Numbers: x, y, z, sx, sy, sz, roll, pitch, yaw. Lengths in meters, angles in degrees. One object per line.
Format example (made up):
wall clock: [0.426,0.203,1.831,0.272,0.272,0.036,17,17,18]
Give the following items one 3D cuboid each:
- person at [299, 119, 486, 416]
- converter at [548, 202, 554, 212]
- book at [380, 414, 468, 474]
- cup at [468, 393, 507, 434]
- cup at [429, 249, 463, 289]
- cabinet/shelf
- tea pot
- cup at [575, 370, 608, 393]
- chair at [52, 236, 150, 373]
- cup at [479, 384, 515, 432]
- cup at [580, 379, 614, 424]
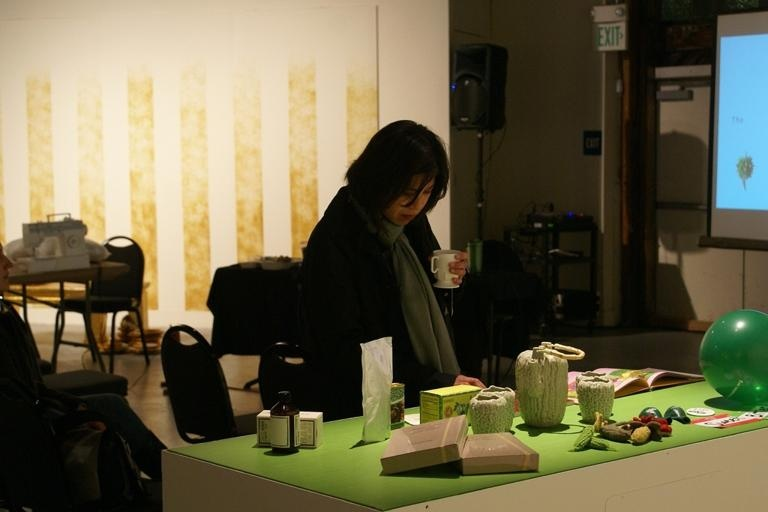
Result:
person: [-0.025,0.047,2.899,0.633,1.045,0.313,-4,1,-7]
converter: [1.781,-0.514,7.612,0.024,0.059,0.078,6,3,-20]
book: [0.129,0.605,2.304,0.278,0.143,0.188,-4,1,3]
cup: [0.355,0.544,2.498,0.124,0.120,0.127,-4,-3,0]
cup: [0.250,0.057,2.958,0.102,0.140,0.165,5,9,33]
cabinet/shelf: [1.772,0.182,7.443,0.969,0.968,0.596,-5,2,-42]
tea pot: [0.550,0.442,2.636,0.327,0.353,0.271,1,-5,1]
cup: [0.752,0.458,2.610,0.092,0.035,0.075,-3,1,25]
chair: [-2.604,0.417,6.643,0.785,1.141,0.760,2,3,-8]
cup: [0.387,0.529,2.457,0.088,0.130,0.152,-2,0,43]
cup: [0.753,0.511,2.559,0.141,0.160,0.140,-2,2,0]
